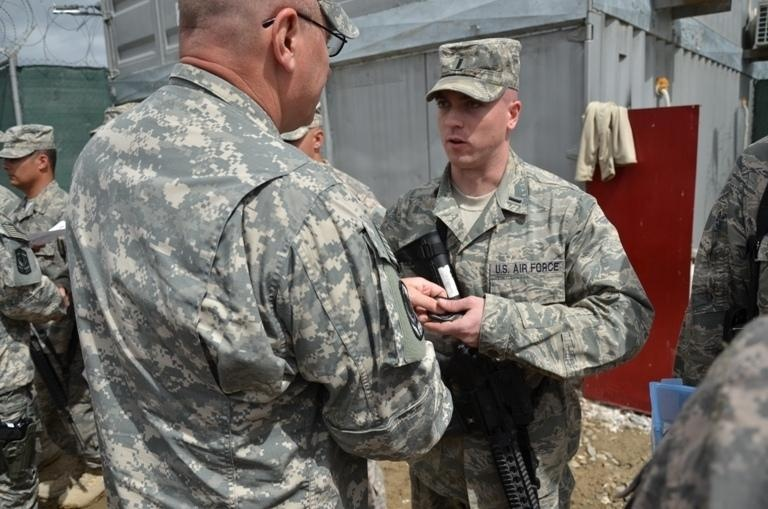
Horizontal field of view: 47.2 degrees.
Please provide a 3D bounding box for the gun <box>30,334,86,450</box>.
[{"bbox_3d":[-2.593,1.123,7.116,0.308,1.312,0.439,-11,7,-20],"label":"gun"}]

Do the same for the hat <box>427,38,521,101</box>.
[{"bbox_3d":[0.585,-1.124,5.525,0.375,0.297,0.508,3,10,38],"label":"hat"}]
